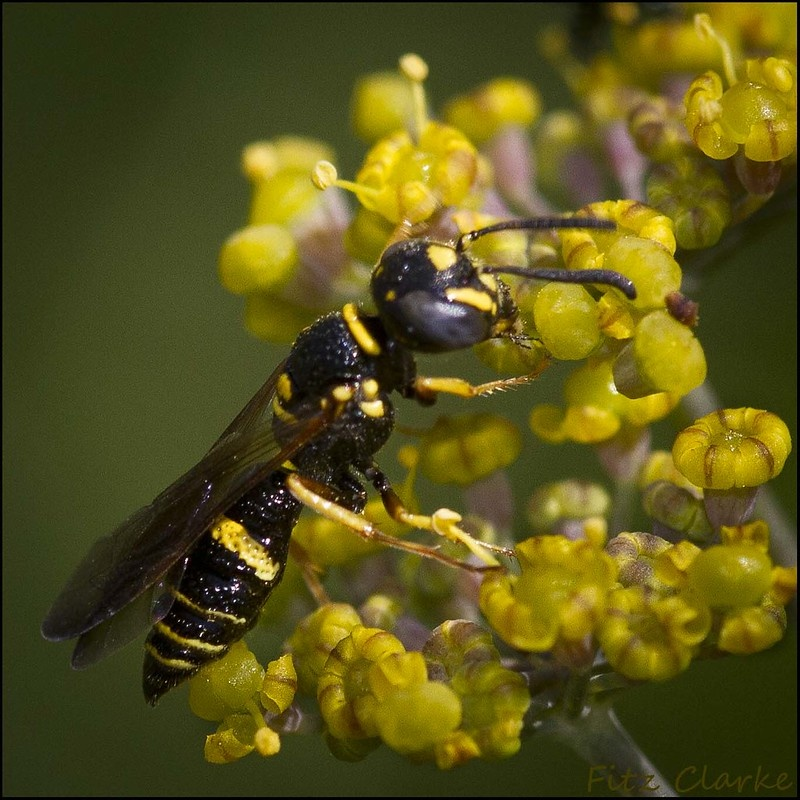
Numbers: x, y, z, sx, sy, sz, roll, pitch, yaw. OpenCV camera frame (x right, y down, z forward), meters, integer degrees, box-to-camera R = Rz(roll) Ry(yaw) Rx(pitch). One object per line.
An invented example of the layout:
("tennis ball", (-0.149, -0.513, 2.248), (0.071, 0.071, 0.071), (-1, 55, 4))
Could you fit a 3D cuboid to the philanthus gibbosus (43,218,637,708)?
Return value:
("philanthus gibbosus", (-0.213, 0.091, 1.981), (1.205, 0.534, 0.500), (-35, 26, 1))
